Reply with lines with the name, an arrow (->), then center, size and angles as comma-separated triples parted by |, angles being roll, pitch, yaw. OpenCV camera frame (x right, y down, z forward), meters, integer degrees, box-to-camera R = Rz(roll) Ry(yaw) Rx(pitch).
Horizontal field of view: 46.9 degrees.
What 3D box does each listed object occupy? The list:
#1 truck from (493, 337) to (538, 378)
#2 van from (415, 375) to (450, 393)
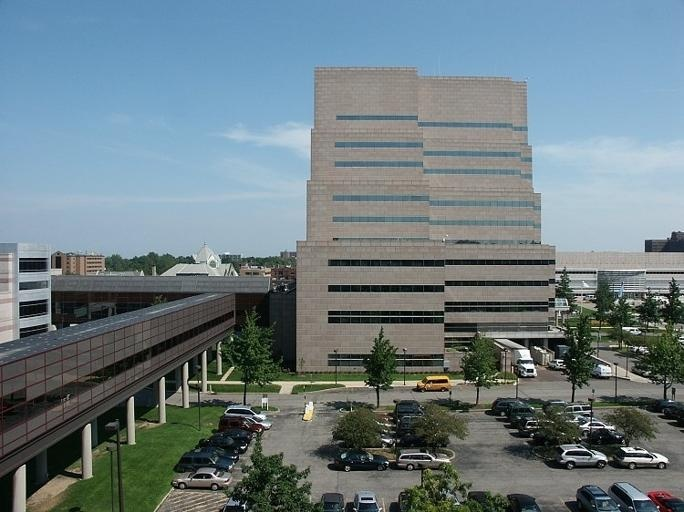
truck -> 27.958, 16.579, 126.351 | 3.290, 3.705, 12.902 | -1, 1, -6
van -> 13.355, 18.537, 114.270 | 3.804, 1.440, 2.375 | 1, -3, 1
